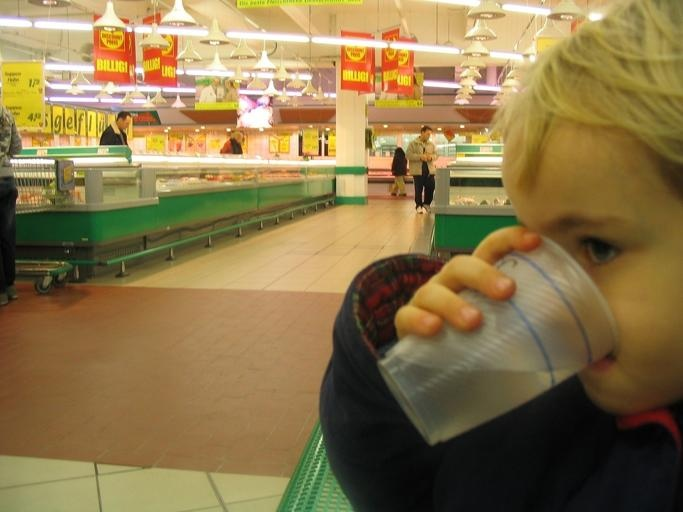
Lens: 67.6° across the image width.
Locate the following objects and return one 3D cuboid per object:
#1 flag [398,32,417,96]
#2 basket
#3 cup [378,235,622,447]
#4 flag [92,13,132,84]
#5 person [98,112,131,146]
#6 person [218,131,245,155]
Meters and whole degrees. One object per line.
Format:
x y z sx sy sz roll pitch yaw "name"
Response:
1.600 -4.903 12.983 0.116 1.418 0.589 -24 34 -34 "flag"
-2.791 -0.586 4.747 0.234 0.610 0.573 2 2 41 "basket"
0.120 0.067 0.444 0.165 0.150 0.133 -28 51 -9 "cup"
-4.956 -4.472 11.151 1.007 1.161 0.592 -9 13 -43 "flag"
-3.504 -2.009 7.857 0.412 0.547 1.154 -4 11 -25 "person"
-2.649 -2.782 12.317 0.419 0.544 0.902 -2 10 -14 "person"
